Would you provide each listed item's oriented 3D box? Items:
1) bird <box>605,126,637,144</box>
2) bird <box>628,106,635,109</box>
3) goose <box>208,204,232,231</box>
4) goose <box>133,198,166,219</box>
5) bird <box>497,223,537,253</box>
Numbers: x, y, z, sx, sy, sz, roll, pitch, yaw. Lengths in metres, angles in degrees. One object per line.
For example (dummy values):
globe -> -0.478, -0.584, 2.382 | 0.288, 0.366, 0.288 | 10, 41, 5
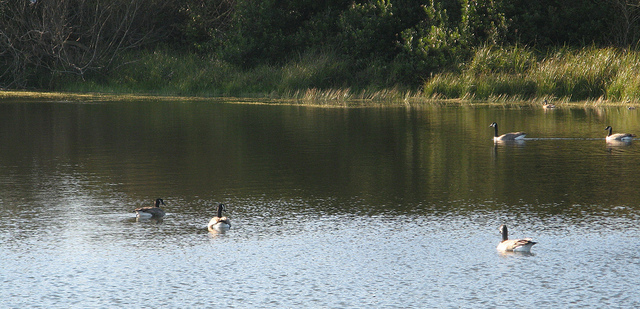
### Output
bird -> 12.248, -0.744, 33.925 | 1.352, 0.641, 0.634 | 2, -5, 2
bird -> 16.406, -2.363, 43.630 | 0.246, 0.113, 0.301 | 1, 3, 8
goose -> -3.009, 1.838, 25.333 | 0.672, 0.692, 0.514 | -5, 7, -19
goose -> -5.199, 1.652, 25.928 | 0.618, 0.658, 1.184 | -7, -9, 38
bird -> 5.699, 2.518, 24.707 | 1.541, 0.791, 0.514 | 0, -6, 28
